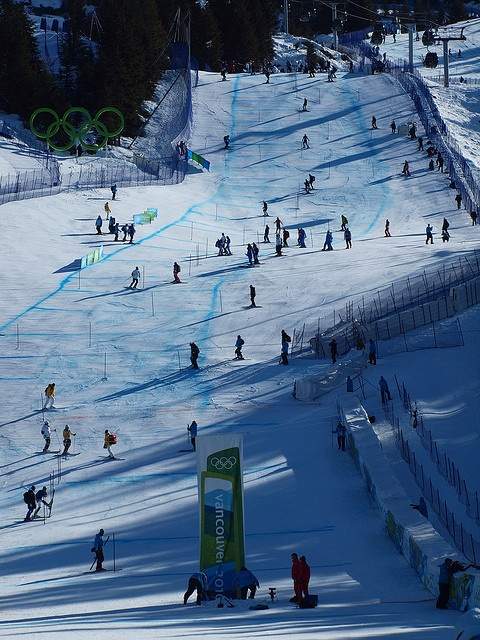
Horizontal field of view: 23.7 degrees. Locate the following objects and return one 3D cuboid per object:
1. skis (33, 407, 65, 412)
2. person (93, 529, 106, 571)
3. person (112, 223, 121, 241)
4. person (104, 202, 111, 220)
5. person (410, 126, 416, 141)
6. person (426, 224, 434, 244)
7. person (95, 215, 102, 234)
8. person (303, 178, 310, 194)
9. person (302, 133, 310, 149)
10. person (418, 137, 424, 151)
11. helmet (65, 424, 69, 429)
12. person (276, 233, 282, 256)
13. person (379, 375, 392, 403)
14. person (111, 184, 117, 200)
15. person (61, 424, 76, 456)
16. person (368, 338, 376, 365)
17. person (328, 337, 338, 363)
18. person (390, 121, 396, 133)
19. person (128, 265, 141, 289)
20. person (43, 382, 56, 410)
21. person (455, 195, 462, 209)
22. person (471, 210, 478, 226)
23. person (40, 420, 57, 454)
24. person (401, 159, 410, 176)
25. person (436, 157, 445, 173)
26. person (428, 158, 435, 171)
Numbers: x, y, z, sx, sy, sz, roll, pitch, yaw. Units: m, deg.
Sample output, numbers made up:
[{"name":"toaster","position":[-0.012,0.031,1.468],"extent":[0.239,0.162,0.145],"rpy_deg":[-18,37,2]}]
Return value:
[{"name":"skis","position":[-4.893,2.310,29.262],"extent":[0.762,0.119,0.277],"rpy_deg":[-1,-4,-11]},{"name":"person","position":[-2.666,4.306,21.432],"extent":[0.212,0.731,0.705],"rpy_deg":[-1,-4,-8]},{"name":"person","position":[-4.770,-3.269,43.755],"extent":[0.243,0.764,0.839],"rpy_deg":[-1,-4,-7]},{"name":"person","position":[-5.372,-4.372,46.266],"extent":[0.256,0.842,1.024],"rpy_deg":[-1,-4,-7]},{"name":"person","position":[8.740,-9.381,57.719],"extent":[0.315,0.715,1.169],"rpy_deg":[-2,-4,8]},{"name":"person","position":[7.098,-3.132,42.719],"extent":[0.330,0.755,1.233],"rpy_deg":[-2,-4,9]},{"name":"person","position":[-5.461,-3.587,44.140],"extent":[0.226,0.681,1.059],"rpy_deg":[-1,-4,-6]},{"name":"person","position":[3.080,-5.991,51.962],"extent":[0.286,0.778,0.822],"rpy_deg":[-1,-4,3]},{"name":"person","position":[3.348,-8.966,57.832],"extent":[0.358,0.900,1.232],"rpy_deg":[-1,-4,3]},{"name":"person","position":[8.948,-8.625,56.389],"extent":[0.275,0.775,0.786],"rpy_deg":[-2,-4,10]},{"name":"helmet","position":[-4.114,2.540,27.050],"extent":[0.088,0.135,0.127],"rpy_deg":[3,-14,2]},{"name":"person","position":[1.435,-2.733,42.402],"extent":[0.279,0.930,0.829],"rpy_deg":[0,3,3]},{"name":"person","position":[3.703,1.814,28.990],"extent":[0.260,0.675,0.881],"rpy_deg":[-2,-4,13]},{"name":"person","position":[-5.324,-5.322,48.242],"extent":[0.240,0.701,1.219],"rpy_deg":[-1,-4,-7]},{"name":"person","position":[-4.089,2.875,27.261],"extent":[0.304,0.701,0.967],"rpy_deg":[-1,-4,-8]},{"name":"person","position":[3.708,0.905,31.830],"extent":[0.225,0.708,0.854],"rpy_deg":[-1,-4,6]},{"name":"person","position":[2.647,0.908,32.144],"extent":[0.204,0.704,0.740],"rpy_deg":[-1,-4,3]},{"name":"person","position":[7.951,-9.897,59.217],"extent":[0.300,0.817,1.388],"rpy_deg":[-1,-4,7]},{"name":"person","position":[-3.556,-1.405,38.420],"extent":[0.349,0.862,1.673],"rpy_deg":[-1,-4,-6]},{"name":"person","position":[-4.953,1.996,29.611],"extent":[0.266,0.627,0.769],"rpy_deg":[0,-4,-11]},{"name":"person","position":[9.275,-4.968,48.267],"extent":[0.269,0.771,1.459],"rpy_deg":[-2,-4,11]},{"name":"person","position":[9.418,-3.992,45.817],"extent":[0.224,0.587,0.987],"rpy_deg":[-2,-4,11]},{"name":"person","position":[-4.678,2.808,27.509],"extent":[0.229,0.718,1.086],"rpy_deg":[0,-4,-10]},{"name":"person","position":[7.818,-7.017,53.685],"extent":[0.327,0.898,0.852],"rpy_deg":[-2,-4,8]},{"name":"person","position":[9.363,-7.199,53.140],"extent":[0.291,0.944,0.737],"rpy_deg":[-2,-4,10]},{"name":"person","position":[8.911,-7.140,52.985],"extent":[0.390,0.462,1.032],"rpy_deg":[9,1,10]}]
